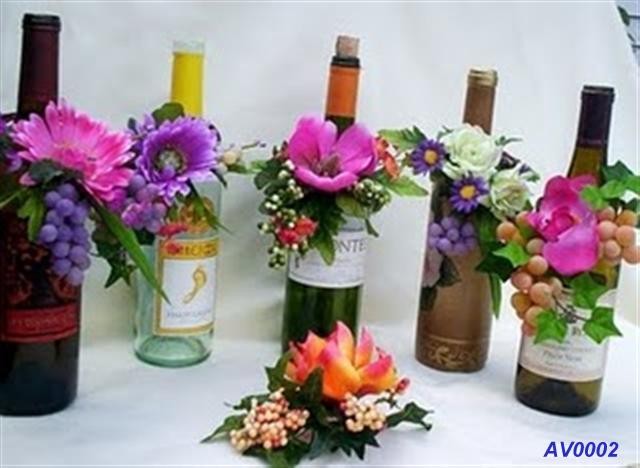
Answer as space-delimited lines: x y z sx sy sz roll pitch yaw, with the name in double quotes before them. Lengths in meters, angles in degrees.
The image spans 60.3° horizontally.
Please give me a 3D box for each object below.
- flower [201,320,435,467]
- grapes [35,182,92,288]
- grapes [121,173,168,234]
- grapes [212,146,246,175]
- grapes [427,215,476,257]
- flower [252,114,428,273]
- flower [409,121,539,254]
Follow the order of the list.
"flower" 0.000 0.162 0.678 0.194 0.097 0.199 0 2 23
"grapes" -0.305 0.000 0.659 0.061 0.121 0.048 -2 10 -26
"grapes" -0.223 -0.042 0.701 0.057 0.076 0.047 -7 10 22
"grapes" -0.132 -0.111 0.815 0.028 0.020 0.051 18 25 7
"grapes" 0.201 0.003 0.879 0.063 0.058 0.033 -25 -28 32
"flower" 0.016 -0.033 0.829 0.238 0.253 0.111 -18 -6 -6
"flower" 0.252 -0.079 0.942 0.193 0.203 0.205 5 22 32
